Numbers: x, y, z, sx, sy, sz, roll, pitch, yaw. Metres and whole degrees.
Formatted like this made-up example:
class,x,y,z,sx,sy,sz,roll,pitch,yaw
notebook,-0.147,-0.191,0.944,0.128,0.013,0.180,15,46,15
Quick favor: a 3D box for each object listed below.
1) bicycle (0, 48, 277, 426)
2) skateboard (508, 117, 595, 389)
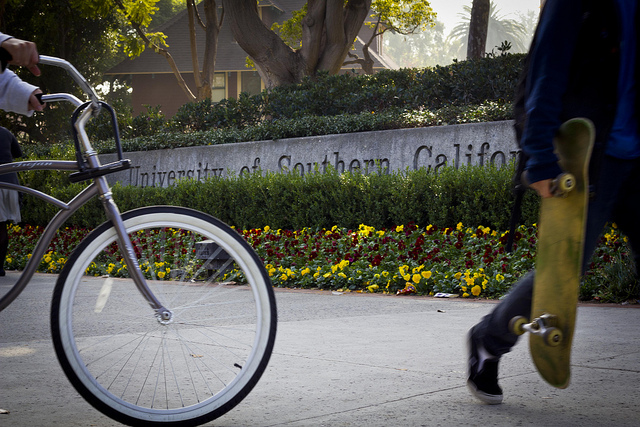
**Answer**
class,x,y,z,sx,sy,sz,roll,pitch,yaw
bicycle,-0.954,0.452,3.758,1.290,1.339,0.804,-1,6,-10
skateboard,1.271,0.205,3.508,0.225,1.445,0.345,2,5,-32
